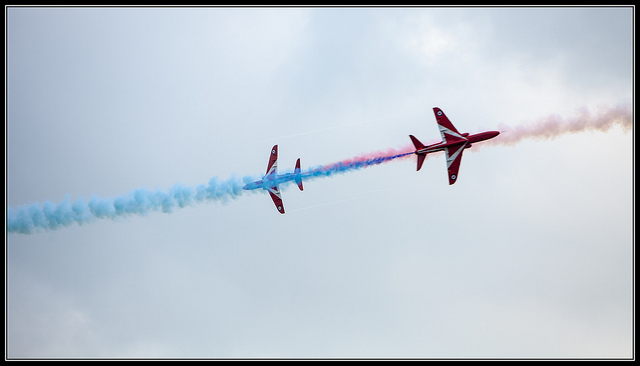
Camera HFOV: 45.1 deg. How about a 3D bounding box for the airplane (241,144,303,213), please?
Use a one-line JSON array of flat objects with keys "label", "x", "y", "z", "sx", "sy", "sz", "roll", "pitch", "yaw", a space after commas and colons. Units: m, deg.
[{"label": "airplane", "x": -1.913, "y": -0.084, "z": 32.106, "sx": 3.152, "sy": 1.147, "sz": 2.690, "roll": -14, "pitch": -84, "yaw": -36}]
